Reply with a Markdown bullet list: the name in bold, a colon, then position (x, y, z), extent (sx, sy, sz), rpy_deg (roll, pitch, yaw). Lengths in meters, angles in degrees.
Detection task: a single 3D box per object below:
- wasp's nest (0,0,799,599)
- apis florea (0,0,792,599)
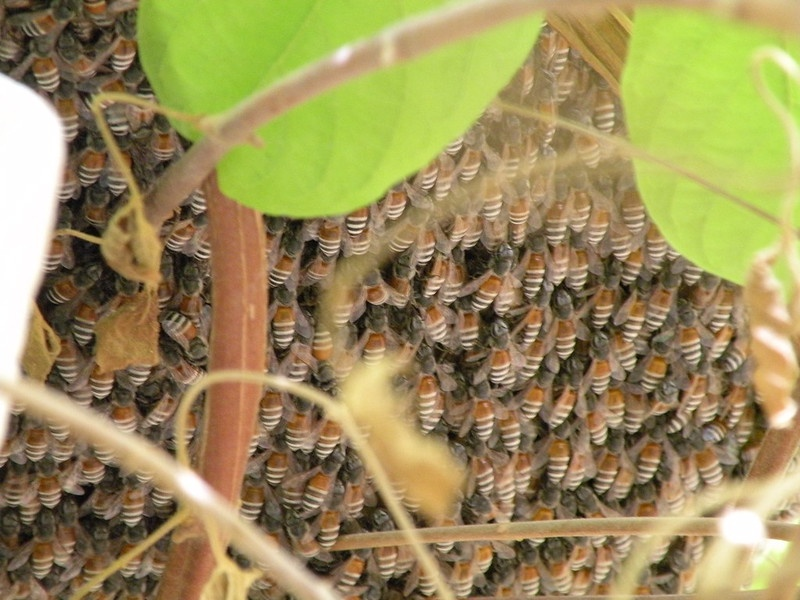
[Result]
- **wasp's nest**: position (0.006, 0.045, 1.233), extent (0.559, 0.565, 0.142), rpy_deg (1, 17, -31)
- **apis florea**: position (-0.013, 0.025, 1.233), extent (0.762, 0.532, 0.305), rpy_deg (12, -9, -37)
